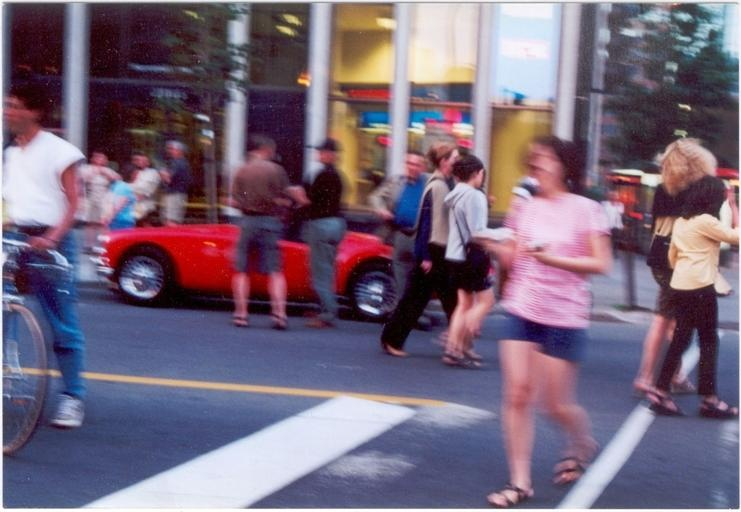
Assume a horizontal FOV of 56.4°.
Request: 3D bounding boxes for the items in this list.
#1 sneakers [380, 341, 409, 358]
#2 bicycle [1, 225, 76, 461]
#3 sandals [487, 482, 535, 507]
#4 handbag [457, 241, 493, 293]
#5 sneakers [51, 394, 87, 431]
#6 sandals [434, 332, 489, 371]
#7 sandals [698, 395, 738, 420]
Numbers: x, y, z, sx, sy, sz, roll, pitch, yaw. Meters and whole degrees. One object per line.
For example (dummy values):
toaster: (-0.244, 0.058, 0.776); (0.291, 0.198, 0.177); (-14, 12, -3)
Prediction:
sneakers: (0.178, 0.701, 5.263); (0.245, 0.106, 0.082); (4, 27, 17)
bicycle: (-2.169, 0.578, 4.431); (0.426, 1.416, 0.194); (3, 8, 4)
sandals: (0.808, 1.406, 4.062); (0.225, 0.085, 0.138); (-6, 3, -11)
handbag: (0.771, 0.061, 5.259); (0.296, 0.362, 0.194); (4, 33, 4)
sneakers: (-1.996, 1.028, 4.568); (0.217, 0.215, 0.219); (5, -15, -8)
sandals: (0.706, 0.735, 5.157); (0.496, 0.189, 0.148); (2, 8, 2)
sandals: (2.462, 1.092, 4.927); (0.258, 0.104, 0.133); (-1, 2, 5)
